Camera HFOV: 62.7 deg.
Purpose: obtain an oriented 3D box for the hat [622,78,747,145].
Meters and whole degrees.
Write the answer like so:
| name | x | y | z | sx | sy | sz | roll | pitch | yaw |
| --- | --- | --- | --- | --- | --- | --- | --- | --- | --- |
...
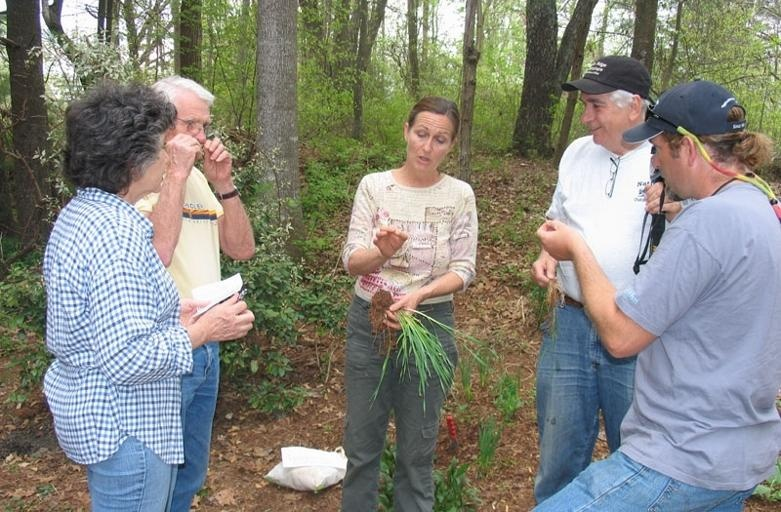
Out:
| name | x | y | z | sx | sy | sz | roll | pitch | yaw |
| --- | --- | --- | --- | --- | --- | --- | --- | --- | --- |
| hat | 1.668 | -0.790 | 3.575 | 0.443 | 0.226 | 0.336 | 2 | 11 | 23 |

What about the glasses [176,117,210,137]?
| name | x | y | z | sx | sy | sz | roll | pitch | yaw |
| --- | --- | --- | --- | --- | --- | --- | --- | --- | --- |
| glasses | -1.329 | -0.862 | 4.252 | 0.218 | 0.124 | 0.268 | -3 | 5 | -38 |

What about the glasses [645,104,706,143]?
| name | x | y | z | sx | sy | sz | roll | pitch | yaw |
| --- | --- | --- | --- | --- | --- | --- | --- | --- | --- |
| glasses | 1.583 | -0.790 | 3.571 | 0.227 | 0.071 | 0.232 | 28 | 5 | 12 |

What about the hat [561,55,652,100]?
| name | x | y | z | sx | sy | sz | roll | pitch | yaw |
| --- | --- | --- | --- | --- | --- | --- | --- | --- | --- |
| hat | 1.548 | -1.195 | 4.466 | 0.445 | 0.232 | 0.314 | 13 | 11 | -1 |

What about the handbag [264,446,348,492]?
| name | x | y | z | sx | sy | sz | roll | pitch | yaw |
| --- | --- | --- | --- | --- | --- | --- | --- | --- | --- |
| handbag | -0.642 | 1.832 | 5.519 | 0.489 | 0.196 | 0.444 | -8 | 12 | -43 |
